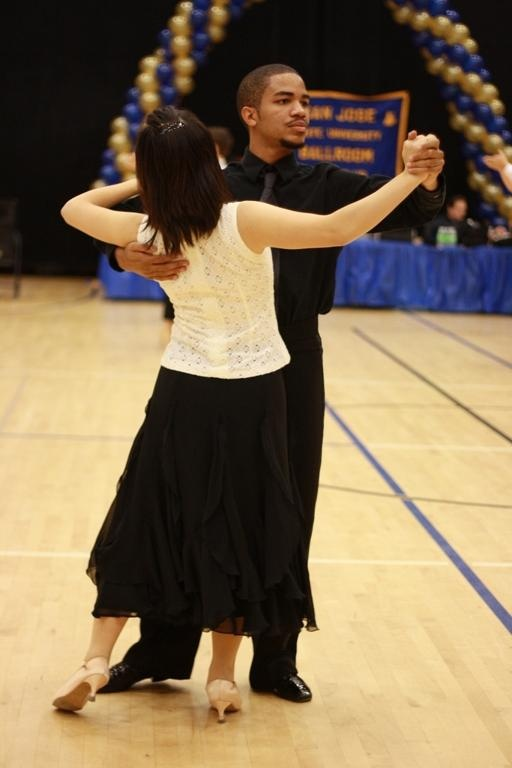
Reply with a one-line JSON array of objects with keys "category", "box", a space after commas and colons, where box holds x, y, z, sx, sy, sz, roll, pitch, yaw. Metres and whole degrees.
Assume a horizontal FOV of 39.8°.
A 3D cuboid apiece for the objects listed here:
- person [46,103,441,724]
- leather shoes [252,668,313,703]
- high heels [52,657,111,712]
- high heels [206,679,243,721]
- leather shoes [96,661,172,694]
[{"category": "person", "box": [-0.062, 0.099, 1.364, 0.729, 1.196, 0.297, 6, 10, 16]}, {"category": "leather shoes", "box": [0.056, 0.660, 1.568, 0.140, 0.050, 0.051, -5, 1, 38]}, {"category": "high heels", "box": [-0.355, 0.619, 1.447, 0.044, 0.131, 0.081, 40, 26, -28]}, {"category": "high heels", "box": [-0.060, 0.648, 1.447, 0.056, 0.066, 0.092, 2, 13, 0]}, {"category": "leather shoes", "box": [-0.277, 0.649, 1.589, 0.177, 0.062, 0.061, 3, -8, -20]}]
